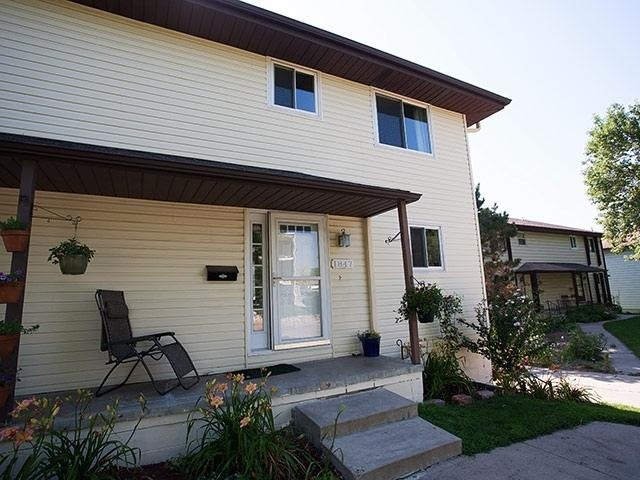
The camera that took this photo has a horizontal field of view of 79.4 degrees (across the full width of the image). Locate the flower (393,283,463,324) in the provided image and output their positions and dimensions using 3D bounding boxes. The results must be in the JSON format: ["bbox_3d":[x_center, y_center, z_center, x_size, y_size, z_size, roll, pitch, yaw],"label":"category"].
[{"bbox_3d":[1.857,1.143,6.835,1.033,0.578,0.912,8,-8,-25],"label":"flower"}]

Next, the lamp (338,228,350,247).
[{"bbox_3d":[0.482,-0.024,7.769,0.235,0.358,0.213,2,8,-37],"label":"lamp"}]

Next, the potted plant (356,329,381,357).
[{"bbox_3d":[0.947,1.979,7.356,0.522,0.450,0.410,4,-23,-13],"label":"potted plant"}]

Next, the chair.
[{"bbox_3d":[-2.563,1.473,5.637,1.432,1.367,0.867,-1,-7,4],"label":"chair"}]

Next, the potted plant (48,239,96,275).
[{"bbox_3d":[-3.560,0.247,5.559,0.647,0.470,0.632,6,-7,-40],"label":"potted plant"}]

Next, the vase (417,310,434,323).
[{"bbox_3d":[1.894,1.376,6.873,0.267,0.166,0.255,7,-16,-25],"label":"vase"}]
